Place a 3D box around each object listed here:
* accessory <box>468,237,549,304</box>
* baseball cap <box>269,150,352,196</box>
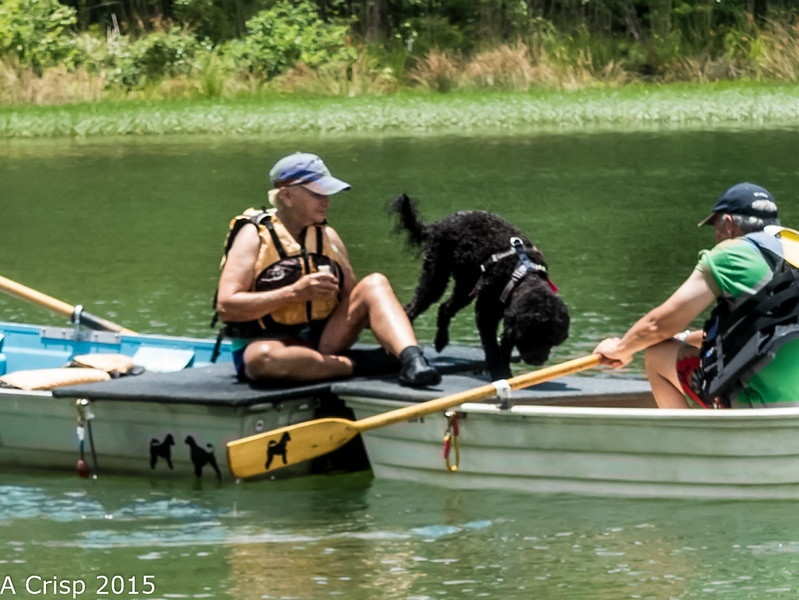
[{"bbox_3d":[0.750,-0.205,9.242,0.566,0.450,0.340,-4,8,1],"label":"accessory"},{"bbox_3d":[-0.677,-0.822,9.315,0.518,0.167,0.280,7,-14,-8],"label":"baseball cap"}]
